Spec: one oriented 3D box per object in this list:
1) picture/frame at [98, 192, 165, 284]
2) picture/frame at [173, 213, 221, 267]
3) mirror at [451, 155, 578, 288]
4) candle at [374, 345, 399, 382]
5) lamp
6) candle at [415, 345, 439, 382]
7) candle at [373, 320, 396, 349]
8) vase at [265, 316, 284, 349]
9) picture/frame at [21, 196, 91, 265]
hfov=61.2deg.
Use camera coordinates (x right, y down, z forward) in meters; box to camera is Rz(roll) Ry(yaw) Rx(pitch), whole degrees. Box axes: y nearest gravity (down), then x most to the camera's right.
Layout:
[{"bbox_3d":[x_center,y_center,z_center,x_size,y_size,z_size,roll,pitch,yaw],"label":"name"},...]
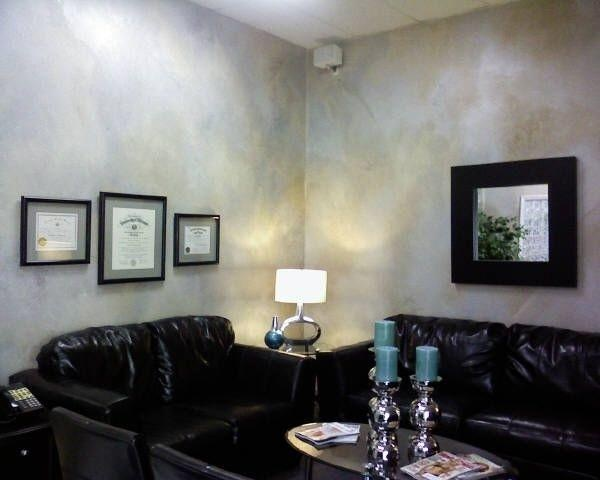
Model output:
[{"bbox_3d":[-1.267,-0.025,3.766,0.059,0.945,0.659,2,1,42],"label":"picture/frame"},{"bbox_3d":[-0.868,-0.007,4.205,0.044,0.429,0.422,-1,-2,41],"label":"picture/frame"},{"bbox_3d":[1.727,-0.146,4.002,0.998,1.164,0.077,-1,-2,37],"label":"mirror"},{"bbox_3d":[0.420,0.607,2.467,0.112,0.174,0.108,2,-2,-20],"label":"candle"},{"bbox_3d":[0.006,0.658,4.547,0.450,0.776,0.473,3,-7,-16],"label":"lamp"},{"bbox_3d":[0.627,0.611,2.596,0.151,0.191,0.160,3,4,15],"label":"candle"},{"bbox_3d":[0.442,0.495,2.635,0.098,0.130,0.168,1,-2,7],"label":"candle"},{"bbox_3d":[-0.213,0.800,4.322,0.175,0.278,0.180,0,-11,-6],"label":"vase"},{"bbox_3d":[-1.649,-0.067,3.395,0.035,0.537,0.440,-2,-2,44],"label":"picture/frame"}]
